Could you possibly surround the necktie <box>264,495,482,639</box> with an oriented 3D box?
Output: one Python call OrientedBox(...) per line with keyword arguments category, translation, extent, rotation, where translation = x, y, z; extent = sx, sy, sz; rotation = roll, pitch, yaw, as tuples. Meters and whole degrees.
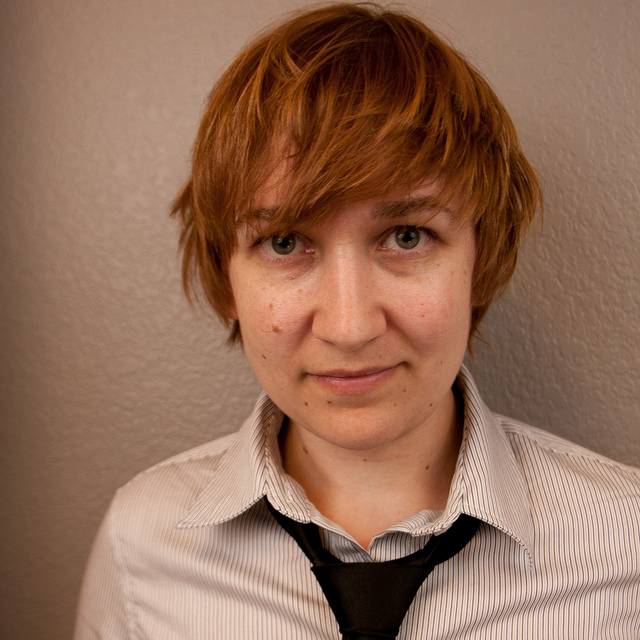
OrientedBox(category="necktie", translation=(0.081, 0.402, 1.081), extent=(0.237, 0.080, 0.212), rotation=(2, 35, 3))
